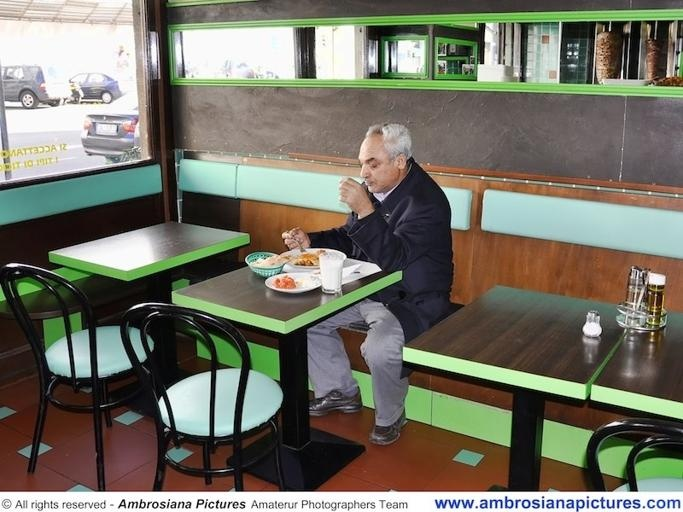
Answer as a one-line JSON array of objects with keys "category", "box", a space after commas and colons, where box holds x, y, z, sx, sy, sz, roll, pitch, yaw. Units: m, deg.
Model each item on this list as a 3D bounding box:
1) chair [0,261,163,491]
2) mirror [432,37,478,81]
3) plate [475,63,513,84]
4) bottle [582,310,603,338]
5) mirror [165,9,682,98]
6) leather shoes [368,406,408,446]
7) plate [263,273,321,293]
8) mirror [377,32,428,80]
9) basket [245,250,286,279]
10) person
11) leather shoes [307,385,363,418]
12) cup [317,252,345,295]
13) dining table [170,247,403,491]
[{"category": "chair", "box": [-1.188, 0.571, 2.335, 0.495, 1.103, 0.647, 14, 30, 9]}, {"category": "mirror", "box": [0.603, -1.029, 2.666, 0.245, 0.195, 0.017, 10, 10, 34]}, {"category": "plate", "box": [0.776, -0.904, 2.592, 0.123, 0.073, 0.121, 5, 15, 23]}, {"category": "bottle", "box": [0.862, 0.238, 1.759, 0.066, 0.089, 0.066, -1, 12, 0]}, {"category": "mirror", "box": [0.286, -1.121, 2.824, 2.773, 0.482, 0.063, 9, 20, 28]}, {"category": "leather shoes", "box": [0.225, 0.815, 2.443, 0.093, 0.091, 0.214, 4, 5, 30]}, {"category": "plate", "box": [-0.189, 0.107, 2.075, 0.198, 0.048, 0.212, -10, 20, -28]}, {"category": "mirror", "box": [0.346, -1.102, 2.799, 0.282, 0.197, 0.029, 9, 15, 36]}, {"category": "basket", "box": [-0.342, 0.047, 2.227, 0.138, 0.047, 0.134, 6, 24, 12]}, {"category": "person", "box": [0.086, 0.115, 2.547, 0.872, 1.432, 0.812, 2, 11, 9]}, {"category": "leather shoes", "box": [-0.030, 0.747, 2.651, 0.307, 0.130, 0.104, 1, 5, -12]}, {"category": "cup", "box": [-0.041, 0.070, 1.994, 0.149, 0.203, 0.142, 0, 5, 0]}, {"category": "dining table", "box": [-0.341, 0.492, 2.509, 1.037, 0.996, 0.927, 9, 19, 34]}]
